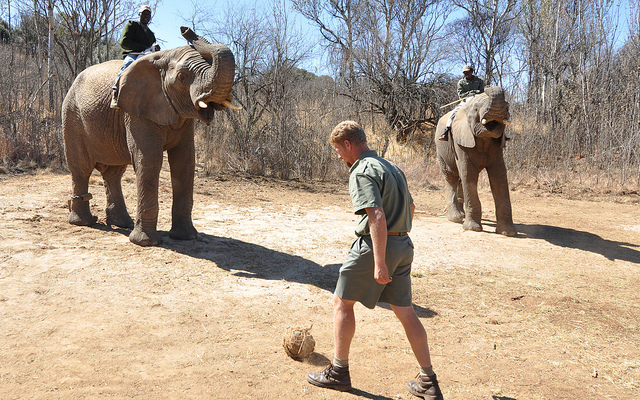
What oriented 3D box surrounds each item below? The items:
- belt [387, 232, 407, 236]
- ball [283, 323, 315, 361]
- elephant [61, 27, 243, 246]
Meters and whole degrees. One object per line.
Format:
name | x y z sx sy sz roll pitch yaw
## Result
belt | 1.085 0.478 7.627 0.288 0.049 0.053 -2 8 -24
ball | -0.305 2.159 8.244 0.464 0.610 0.462 4 -4 0
elephant | -3.302 -1.142 10.874 5.280 3.996 1.815 6 10 37
